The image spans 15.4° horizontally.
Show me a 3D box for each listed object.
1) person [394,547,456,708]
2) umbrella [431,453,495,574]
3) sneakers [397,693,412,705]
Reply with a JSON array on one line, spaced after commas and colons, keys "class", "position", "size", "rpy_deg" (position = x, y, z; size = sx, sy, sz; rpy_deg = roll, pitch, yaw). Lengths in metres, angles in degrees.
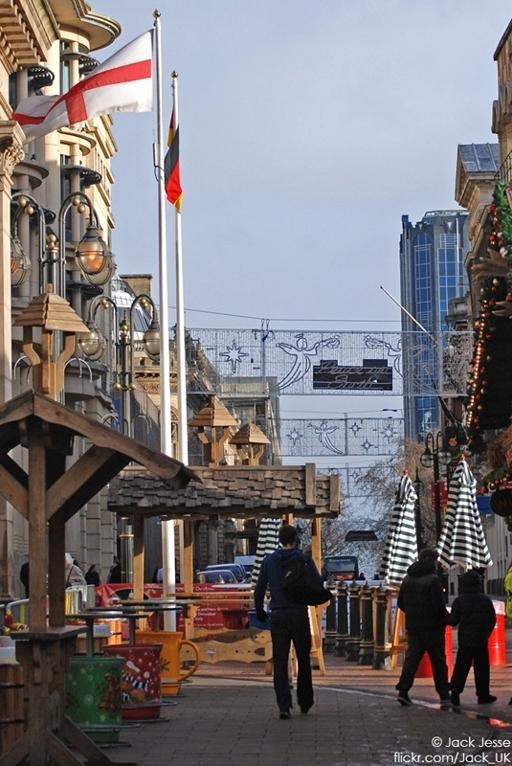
[{"class": "person", "position": [1.645, 2.534, 19.388], "size": [0.636, 1.315, 1.147], "rpy_deg": [-10, -4, 4]}, {"class": "umbrella", "position": [2.734, 1.833, 25.997], "size": [0.663, 1.317, 2.164], "rpy_deg": [-10, -4, 6]}, {"class": "sneakers", "position": [1.463, 3.183, 18.989], "size": [0.066, 0.132, 0.177], "rpy_deg": [1, -5, 45]}]
